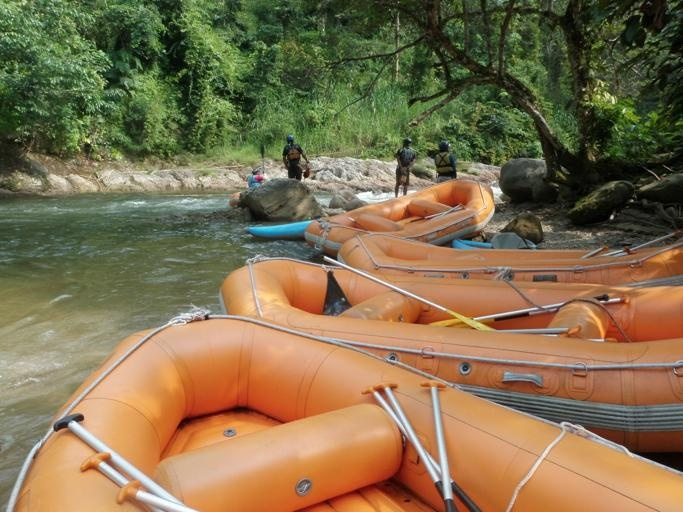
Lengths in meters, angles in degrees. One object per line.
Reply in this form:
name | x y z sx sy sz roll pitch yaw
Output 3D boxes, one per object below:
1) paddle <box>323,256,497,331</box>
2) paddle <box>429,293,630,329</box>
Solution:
paddle | 0.712 0.401 5.461 2.141 0.249 0.128 16 -13 19
paddle | 1.798 0.512 4.961 1.553 0.184 0.127 -8 43 30
